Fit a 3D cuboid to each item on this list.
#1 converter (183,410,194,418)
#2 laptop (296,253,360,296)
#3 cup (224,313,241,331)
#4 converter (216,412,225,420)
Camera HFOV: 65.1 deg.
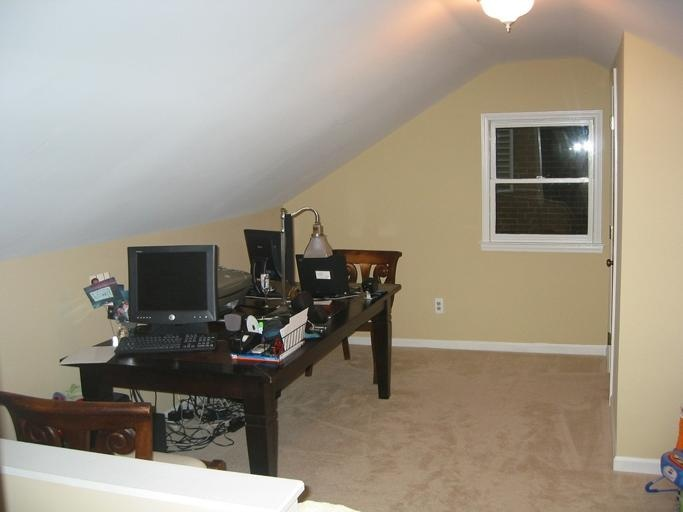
[{"bbox_3d":[-1.080,1.098,3.758,0.047,0.011,0.046,4,17,14],"label":"converter"},{"bbox_3d":[-0.093,0.106,3.591,0.364,0.347,0.264,2,18,11],"label":"laptop"},{"bbox_3d":[-0.593,0.356,2.900,0.085,0.078,0.049,3,13,7],"label":"cup"},{"bbox_3d":[-0.853,1.112,3.758,0.038,0.036,0.028,-1,15,1],"label":"converter"}]
